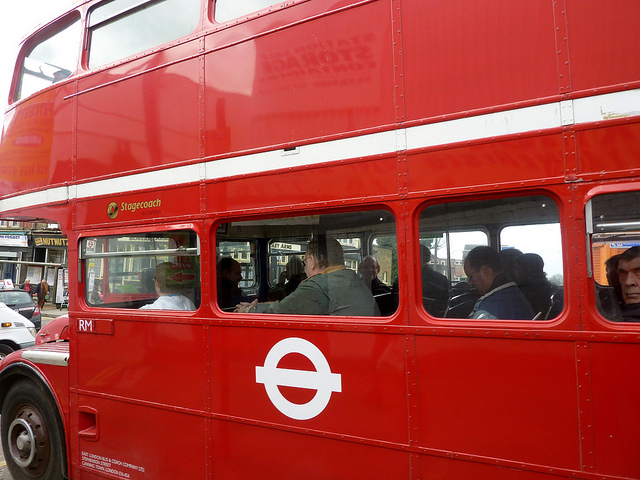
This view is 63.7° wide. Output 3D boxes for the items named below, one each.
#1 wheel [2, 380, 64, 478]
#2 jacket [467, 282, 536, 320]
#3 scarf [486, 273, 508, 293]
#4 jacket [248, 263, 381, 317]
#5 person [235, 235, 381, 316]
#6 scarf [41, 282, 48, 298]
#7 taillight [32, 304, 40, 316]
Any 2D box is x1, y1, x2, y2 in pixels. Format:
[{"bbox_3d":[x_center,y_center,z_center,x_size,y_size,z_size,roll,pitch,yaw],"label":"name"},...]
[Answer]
[{"bbox_3d":[-2.981,1.990,5.400,0.981,1.245,0.222,-5,-6,36],"label":"wheel"},{"bbox_3d":[1.274,0.438,3.673,0.295,0.360,0.541,3,6,31],"label":"jacket"},{"bbox_3d":[1.222,0.295,3.537,0.079,0.126,0.043,-6,-24,27],"label":"scarf"},{"bbox_3d":[-0.096,0.437,4.439,1.141,0.477,0.889,-6,0,26],"label":"jacket"},{"bbox_3d":[-0.020,0.338,4.064,0.692,0.445,0.709,5,-6,-43],"label":"person"},{"bbox_3d":[-11.635,2.046,21.740,0.209,0.557,0.398,2,-6,-38],"label":"scarf"},{"bbox_3d":[-7.843,1.925,14.239,0.091,0.308,0.683,0,-5,-22],"label":"taillight"}]
